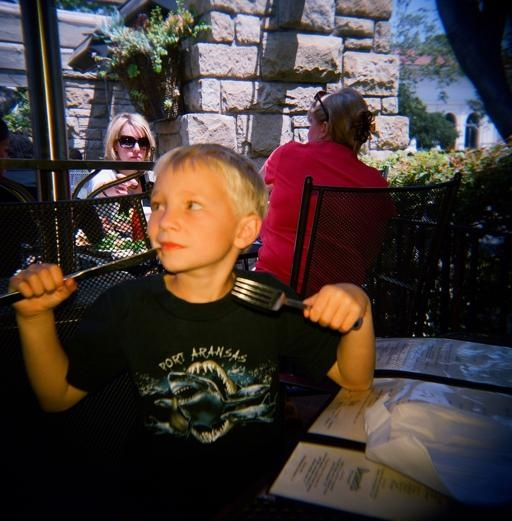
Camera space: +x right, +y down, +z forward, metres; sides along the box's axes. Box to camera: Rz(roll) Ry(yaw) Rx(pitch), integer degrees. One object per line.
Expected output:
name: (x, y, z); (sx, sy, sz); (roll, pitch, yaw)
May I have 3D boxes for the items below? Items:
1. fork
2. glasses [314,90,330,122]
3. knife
fork: (0.076, 0.094, 0.884); (0.285, 0.060, 0.054); (16, 8, 15)
glasses: (0.327, -0.791, 2.208); (0.055, 0.162, 0.164); (-15, 14, 1)
knife: (-0.353, 0.034, 0.842); (0.397, 0.037, 0.030); (-14, 48, -19)
